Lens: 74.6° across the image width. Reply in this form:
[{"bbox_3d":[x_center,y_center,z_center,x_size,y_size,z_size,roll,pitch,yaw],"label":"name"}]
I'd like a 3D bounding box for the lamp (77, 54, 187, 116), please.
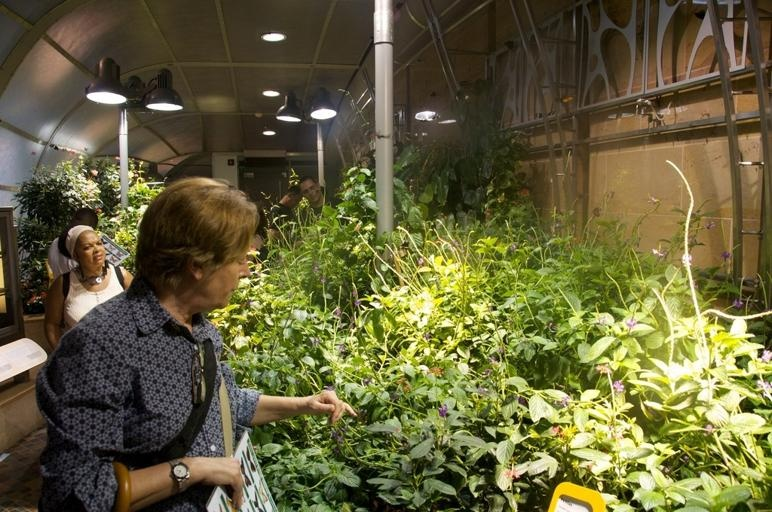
[{"bbox_3d":[-3.191,-2.137,6.392,1.034,0.515,1.195,4,11,16],"label":"lamp"}]

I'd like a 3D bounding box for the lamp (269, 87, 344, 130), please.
[{"bbox_3d":[-1.292,-2.149,7.778,1.042,0.478,1.045,11,18,29],"label":"lamp"}]
